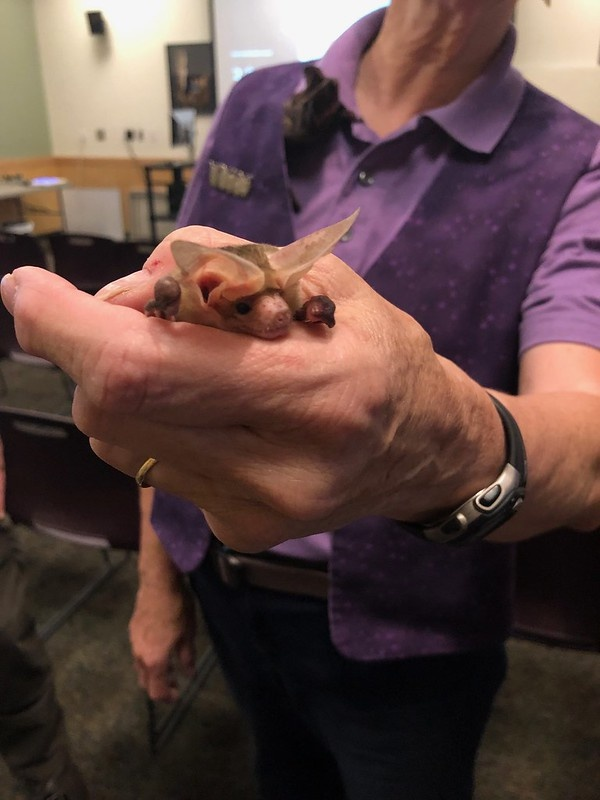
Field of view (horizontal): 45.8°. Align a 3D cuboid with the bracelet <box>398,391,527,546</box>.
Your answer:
[{"bbox_3d":[0.173,0.077,0.717,0.112,0.137,0.099,-14,29,-21],"label":"bracelet"}]

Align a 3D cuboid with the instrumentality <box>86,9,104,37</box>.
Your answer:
[{"bbox_3d":[-0.204,-0.377,0.715,0.014,0.022,0.019,14,31,28],"label":"instrumentality"}]

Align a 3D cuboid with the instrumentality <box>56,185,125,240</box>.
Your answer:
[{"bbox_3d":[-0.218,-0.196,0.767,0.066,0.062,0.071,-13,28,-21],"label":"instrumentality"}]

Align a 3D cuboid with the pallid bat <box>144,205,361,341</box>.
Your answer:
[{"bbox_3d":[-0.042,-0.100,0.563,0.164,0.083,0.099,-6,26,-10],"label":"pallid bat"}]
